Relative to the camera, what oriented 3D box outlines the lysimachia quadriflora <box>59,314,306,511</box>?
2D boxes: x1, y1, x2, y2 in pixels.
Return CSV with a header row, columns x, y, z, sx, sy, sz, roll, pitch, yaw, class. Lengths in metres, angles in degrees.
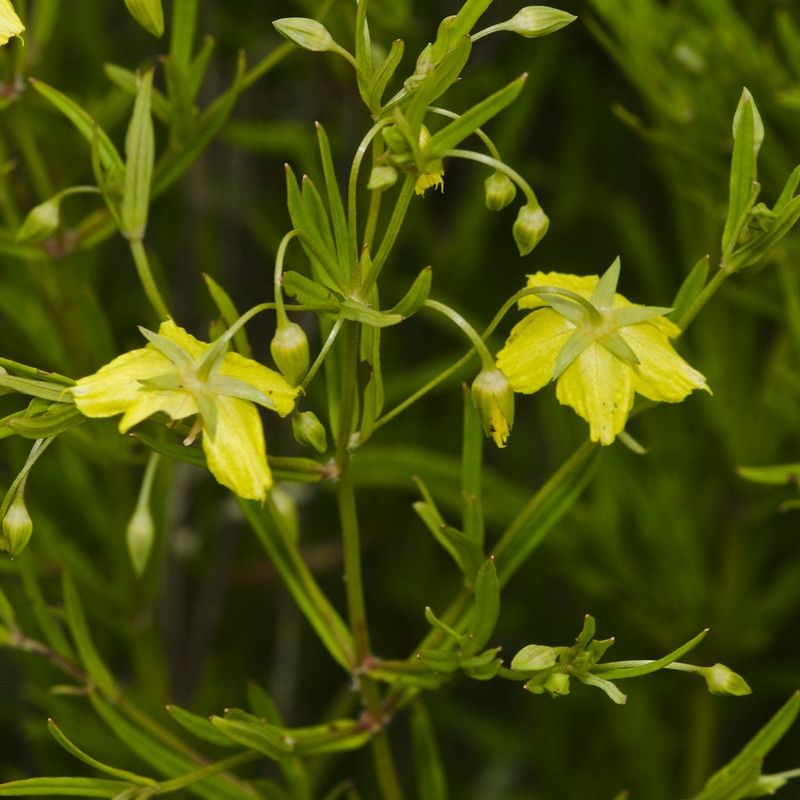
x,y,z,sx,sy,sz,roll,pitch,yaw,class
-0.182,-0.009,0.840,0.194,0.107,0.201,26,18,5,lysimachia quadriflora
